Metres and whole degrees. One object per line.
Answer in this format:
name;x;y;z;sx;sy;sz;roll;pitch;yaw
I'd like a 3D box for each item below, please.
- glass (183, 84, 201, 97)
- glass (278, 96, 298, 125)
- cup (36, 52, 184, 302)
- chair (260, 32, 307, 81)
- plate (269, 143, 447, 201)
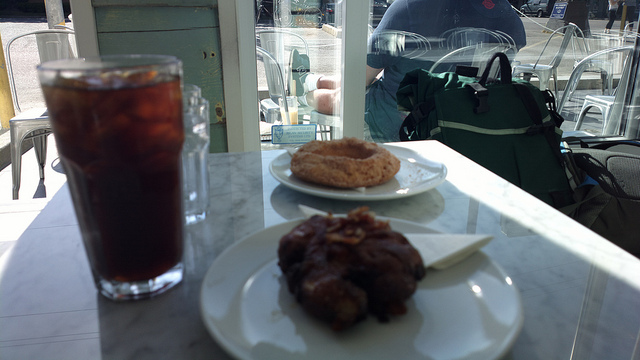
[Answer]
glass;-0.313;-0.216;1.033;0.040;0.029;0.053;-7;24;-14
glass;-0.196;-0.415;2.597;0.115;0.168;0.113;-12;12;-42
cup;-0.410;-0.009;0.916;0.270;0.483;0.251;0;25;0
chair;-0.220;-0.720;2.440;0.260;0.255;0.116;-10;31;-18
plate;0.126;-0.034;1.270;0.552;0.084;0.348;-3;23;-7
